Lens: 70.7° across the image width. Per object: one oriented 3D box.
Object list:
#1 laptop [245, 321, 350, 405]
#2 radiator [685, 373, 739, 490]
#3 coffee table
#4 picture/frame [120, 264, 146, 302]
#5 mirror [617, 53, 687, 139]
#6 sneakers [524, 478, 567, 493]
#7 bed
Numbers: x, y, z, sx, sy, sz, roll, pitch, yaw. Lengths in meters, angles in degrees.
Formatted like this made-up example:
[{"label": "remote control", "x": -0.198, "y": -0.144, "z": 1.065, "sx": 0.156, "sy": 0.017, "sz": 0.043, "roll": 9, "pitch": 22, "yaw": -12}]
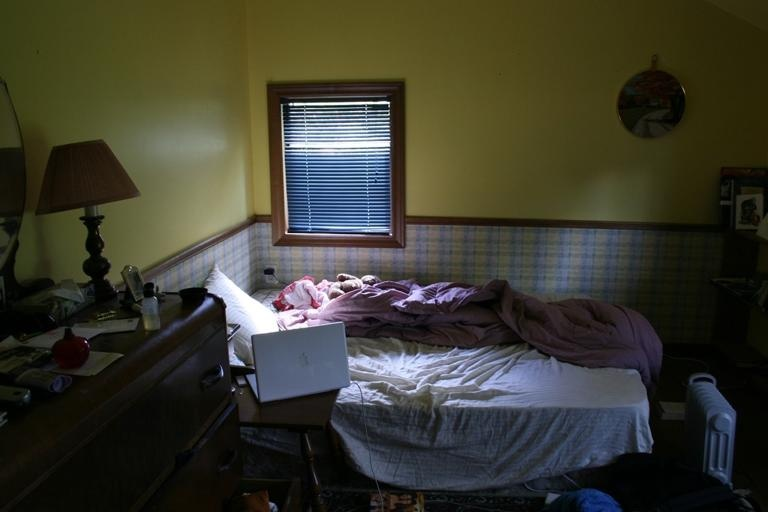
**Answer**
[{"label": "laptop", "x": -0.423, "y": 0.548, "z": 2.762, "sx": 0.513, "sy": 0.371, "sz": 0.379, "roll": -4, "pitch": 3, "yaw": -20}, {"label": "radiator", "x": 1.760, "y": 0.947, "z": 2.902, "sx": 0.233, "sy": 0.572, "sz": 0.405, "roll": 3, "pitch": 12, "yaw": 21}, {"label": "coffee table", "x": -0.493, "y": 0.968, "z": 2.744, "sx": 0.528, "sy": 0.590, "sz": 0.377, "roll": -2, "pitch": 12, "yaw": -2}, {"label": "picture/frame", "x": -1.102, "y": 0.123, "z": 2.364, "sx": 0.066, "sy": 0.201, "sz": 0.140, "roll": -4, "pitch": 1, "yaw": 13}, {"label": "mirror", "x": 2.110, "y": -1.244, "z": 4.273, "sx": 0.518, "sy": 0.691, "sz": 0.020, "roll": 5, "pitch": 44, "yaw": 30}, {"label": "sneakers", "x": 0.926, "y": 1.307, "z": 3.076, "sx": 0.160, "sy": 0.040, "sz": 0.099, "roll": -6, "pitch": 29, "yaw": 4}, {"label": "bed", "x": 0.386, "y": 1.014, "z": 3.666, "sx": 2.482, "sy": 0.592, "sz": 1.381, "roll": -1, "pitch": 5, "yaw": 8}]
